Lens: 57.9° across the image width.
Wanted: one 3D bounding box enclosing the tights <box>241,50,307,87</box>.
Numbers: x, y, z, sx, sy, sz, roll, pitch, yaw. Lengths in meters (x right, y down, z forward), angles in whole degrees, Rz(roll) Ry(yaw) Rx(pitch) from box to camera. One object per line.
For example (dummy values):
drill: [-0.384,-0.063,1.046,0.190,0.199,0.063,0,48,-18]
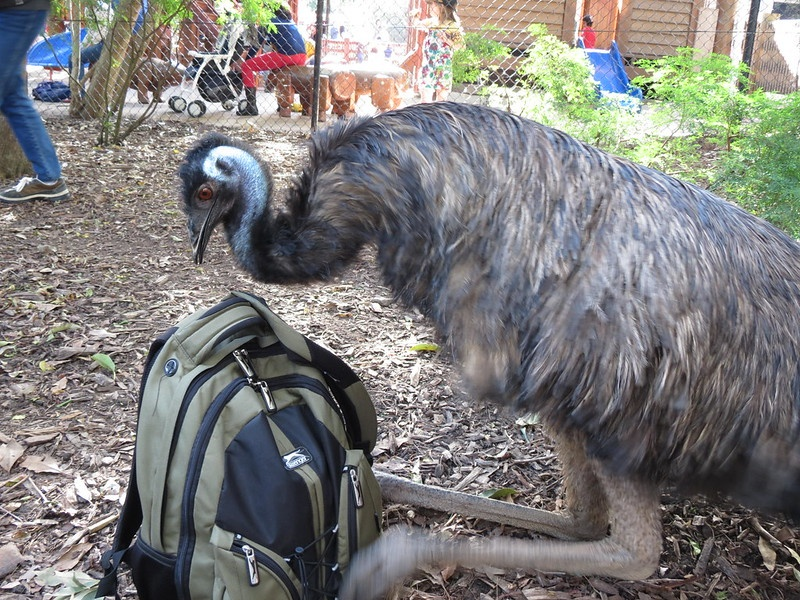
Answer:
tights: [-1.671,-3.045,9.465,0.720,0.472,0.245,-19,-16,38]
